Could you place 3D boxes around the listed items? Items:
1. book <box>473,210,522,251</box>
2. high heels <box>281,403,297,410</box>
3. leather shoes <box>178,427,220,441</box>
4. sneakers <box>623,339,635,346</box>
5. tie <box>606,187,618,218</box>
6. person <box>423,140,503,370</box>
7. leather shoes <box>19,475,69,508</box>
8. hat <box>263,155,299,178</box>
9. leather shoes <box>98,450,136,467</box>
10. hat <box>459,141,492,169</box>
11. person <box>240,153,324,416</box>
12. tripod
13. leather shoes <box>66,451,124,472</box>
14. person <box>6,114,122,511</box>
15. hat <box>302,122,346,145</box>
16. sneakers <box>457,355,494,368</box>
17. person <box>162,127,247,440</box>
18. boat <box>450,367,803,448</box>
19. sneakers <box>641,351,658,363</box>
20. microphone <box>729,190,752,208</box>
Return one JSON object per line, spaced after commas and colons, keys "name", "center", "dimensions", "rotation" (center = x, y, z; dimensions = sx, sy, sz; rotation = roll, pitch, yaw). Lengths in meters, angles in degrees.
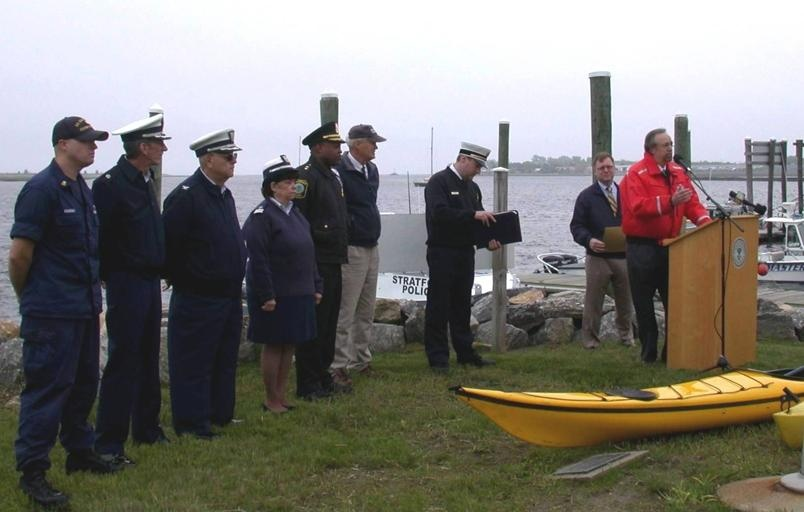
{"name": "book", "center": [1.139, -0.327, 9.876], "dimensions": [0.587, 0.457, 0.392], "rotation": [0, 11, -1]}
{"name": "high heels", "center": [-1.165, 1.546, 8.486], "dimensions": [0.145, 0.102, 0.051], "rotation": [-12, 0, 39]}
{"name": "leather shoes", "center": [-1.911, 1.665, 7.707], "dimensions": [0.204, 0.072, 0.155], "rotation": [1, -4, 6]}
{"name": "sneakers", "center": [3.190, 1.208, 11.573], "dimensions": [0.118, 0.107, 0.100], "rotation": [-3, -9, 30]}
{"name": "tie", "center": [2.914, -0.764, 11.462], "dimensions": [0.181, 0.333, 0.152], "rotation": [3, 11, 13]}
{"name": "person", "center": [0.672, 0.006, 9.973], "dimensions": [0.854, 2.710, 0.722], "rotation": [-4, 11, -19]}
{"name": "leather shoes", "center": [-2.899, 1.878, 6.606], "dimensions": [0.419, 0.228, 0.201], "rotation": [8, 13, 33]}
{"name": "hat", "center": [-1.225, -0.898, 8.199], "dimensions": [0.344, 0.256, 0.465], "rotation": [-1, 11, -9]}
{"name": "leather shoes", "center": [-2.495, 1.780, 7.207], "dimensions": [0.180, 0.098, 0.141], "rotation": [12, 0, -6]}
{"name": "hat", "center": [0.881, -1.205, 9.836], "dimensions": [0.347, 0.278, 0.261], "rotation": [-3, 11, -14]}
{"name": "person", "center": [-1.223, 0.273, 8.382], "dimensions": [0.728, 2.547, 0.499], "rotation": [-7, 13, -33]}
{"name": "tripod", "center": [3.624, 0.384, 9.309], "dimensions": [0.234, 1.730, 0.335], "rotation": [3, 11, 13]}
{"name": "leather shoes", "center": [-2.671, 1.753, 7.168], "dimensions": [0.544, 0.222, 0.184], "rotation": [-1, 3, -5]}
{"name": "person", "center": [-2.824, 0.397, 6.770], "dimensions": [0.798, 3.018, 1.012], "rotation": [-2, 11, -11]}
{"name": "hat", "center": [-0.879, -1.311, 8.865], "dimensions": [0.405, 0.260, 0.307], "rotation": [-1, 11, -5]}
{"name": "sneakers", "center": [0.903, 1.302, 10.195], "dimensions": [0.445, 0.192, 0.169], "rotation": [-2, 0, 2]}
{"name": "person", "center": [-1.846, 0.246, 7.786], "dimensions": [0.819, 2.820, 0.650], "rotation": [-6, 12, -29]}
{"name": "boat", "center": [2.201, 1.456, 7.788], "dimensions": [2.905, 0.456, 0.632], "rotation": [1, -4, -16]}
{"name": "sneakers", "center": [3.004, 1.202, 9.997], "dimensions": [0.132, 0.133, 0.131], "rotation": [-4, 7, -36]}
{"name": "microphone", "center": [3.833, -0.653, 9.350], "dimensions": [0.232, 0.174, 0.086], "rotation": [33, -14, 18]}
